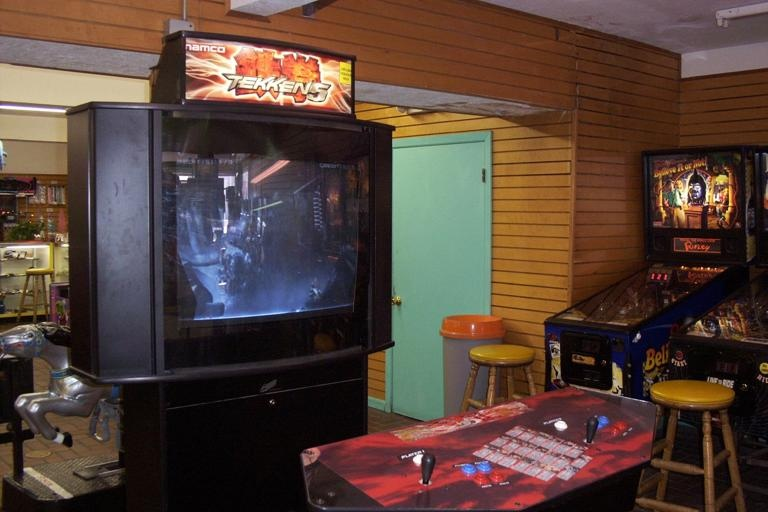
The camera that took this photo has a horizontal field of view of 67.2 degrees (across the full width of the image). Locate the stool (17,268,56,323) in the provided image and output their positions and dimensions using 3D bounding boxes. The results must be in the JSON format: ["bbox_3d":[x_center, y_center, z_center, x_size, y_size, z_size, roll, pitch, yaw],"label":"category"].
[{"bbox_3d":[-6.104,0.678,10.143,0.595,0.997,0.841,-4,8,-29],"label":"stool"}]
